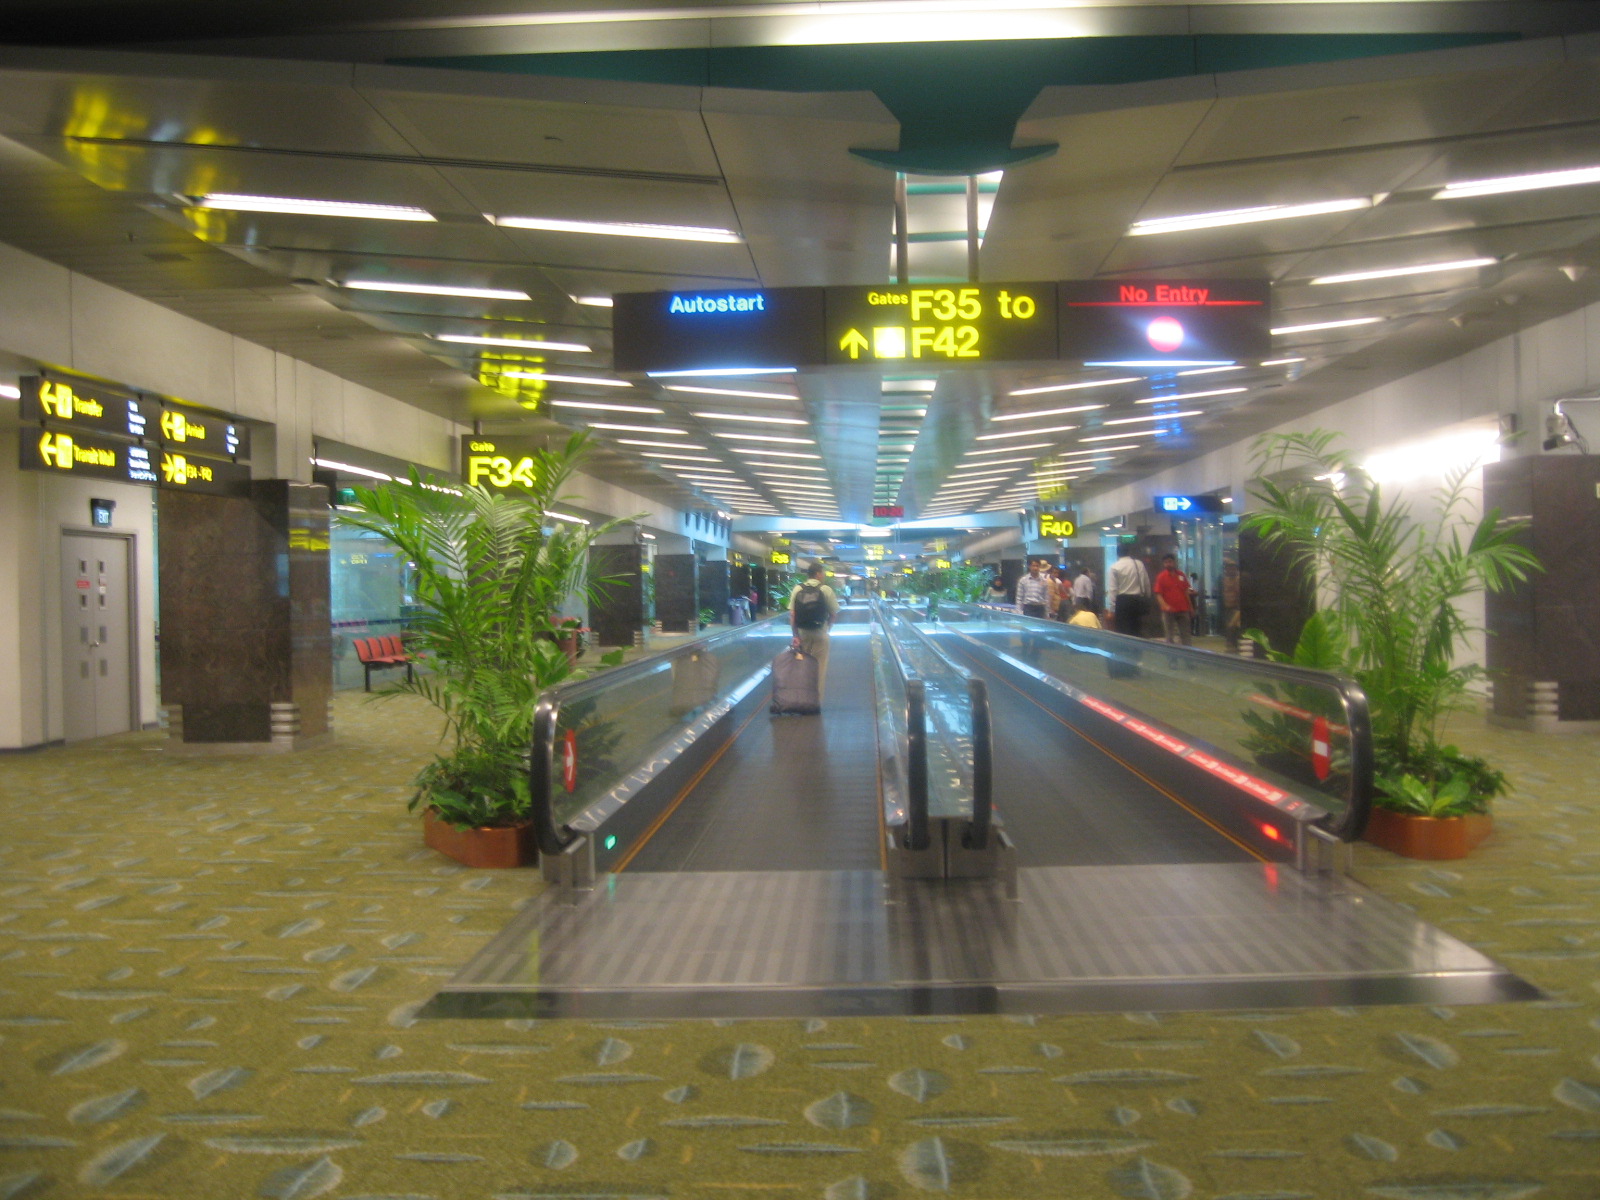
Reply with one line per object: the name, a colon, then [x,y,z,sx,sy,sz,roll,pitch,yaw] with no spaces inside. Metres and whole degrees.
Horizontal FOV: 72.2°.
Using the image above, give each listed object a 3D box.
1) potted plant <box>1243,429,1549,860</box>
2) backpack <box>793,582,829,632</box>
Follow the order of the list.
potted plant: [3.737,0.262,6.886,0.982,2.292,1.507,-4,10,-16]
backpack: [0.126,0.123,13.186,0.590,0.740,0.439,0,-9,-2]
